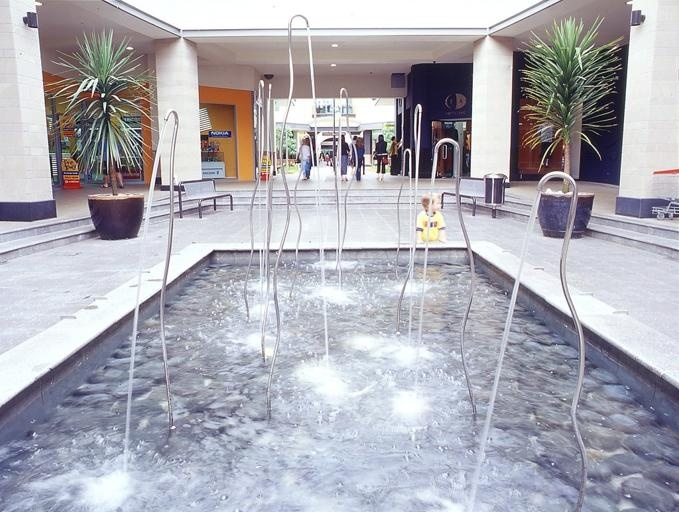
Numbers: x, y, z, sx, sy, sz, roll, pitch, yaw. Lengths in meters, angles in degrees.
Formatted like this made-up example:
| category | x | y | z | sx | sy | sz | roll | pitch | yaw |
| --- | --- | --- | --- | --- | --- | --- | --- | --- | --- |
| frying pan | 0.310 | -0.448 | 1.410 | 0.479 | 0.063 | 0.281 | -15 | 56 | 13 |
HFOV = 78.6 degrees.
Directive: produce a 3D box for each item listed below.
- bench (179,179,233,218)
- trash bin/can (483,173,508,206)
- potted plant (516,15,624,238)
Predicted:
| category | x | y | z | sx | sy | sz | roll | pitch | yaw |
| --- | --- | --- | --- | --- | --- | --- | --- | --- | --- |
| bench | -3.426 | -1.560 | 10.159 | 1.049 | 0.562 | 0.406 | 0 | -11 | 17 |
| trash bin/can | 3.435 | -1.504 | 9.425 | 0.674 | 0.801 | 0.662 | -1 | 4 | -3 |
| potted plant | 3.654 | -2.093 | 6.650 | 1.611 | 3.554 | 1.520 | 4 | 5 | 36 |
